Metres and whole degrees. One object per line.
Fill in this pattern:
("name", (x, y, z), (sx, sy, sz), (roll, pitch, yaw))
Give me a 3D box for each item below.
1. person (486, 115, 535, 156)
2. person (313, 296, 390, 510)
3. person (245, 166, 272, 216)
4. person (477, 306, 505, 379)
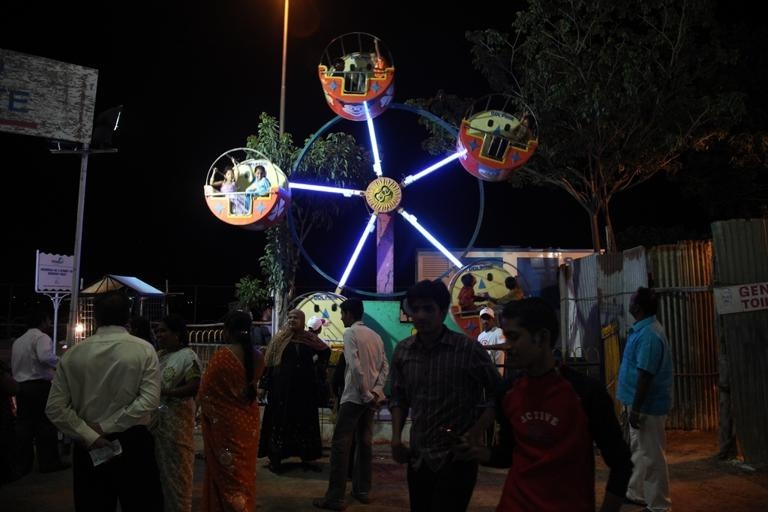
("person", (2.954, -2.704, 13.745), (0.736, 1.007, 0.243), (15, 2, 11))
("person", (-0.401, 1.837, 7.745), (0.932, 2.589, 0.584), (5, -7, -42))
("person", (-2.913, -1.467, 13.801), (0.555, 1.099, 0.537), (3, -3, -9))
("person", (1.837, 1.674, 10.822), (0.644, 1.620, 0.370), (3, 25, 20))
